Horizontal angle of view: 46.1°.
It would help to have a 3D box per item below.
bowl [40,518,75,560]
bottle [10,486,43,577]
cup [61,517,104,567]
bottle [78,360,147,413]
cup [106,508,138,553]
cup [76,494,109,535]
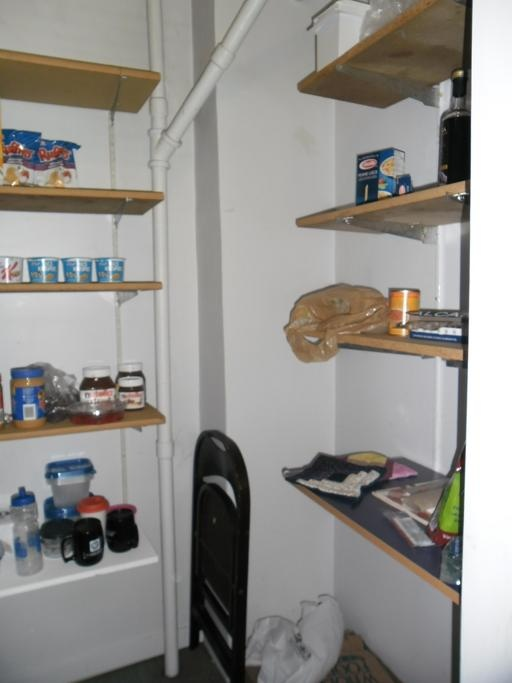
[{"bbox_3d":[-0.549,0.534,1.639,0.087,0.062,0.087,1,1,0],"label":"bowl"},{"bbox_3d":[-0.612,0.486,1.593,0.072,0.210,0.159,-6,7,-24],"label":"bottle"},{"bbox_3d":[-0.466,0.531,1.616,0.111,0.110,0.111,-3,7,0],"label":"cup"},{"bbox_3d":[-0.397,0.123,1.648,0.197,0.140,0.104,-1,5,-17],"label":"bottle"},{"bbox_3d":[-0.374,0.528,1.717,0.086,0.101,0.107,5,12,21],"label":"cup"},{"bbox_3d":[-0.448,0.465,1.668,0.092,0.104,0.092,2,4,0],"label":"cup"}]
